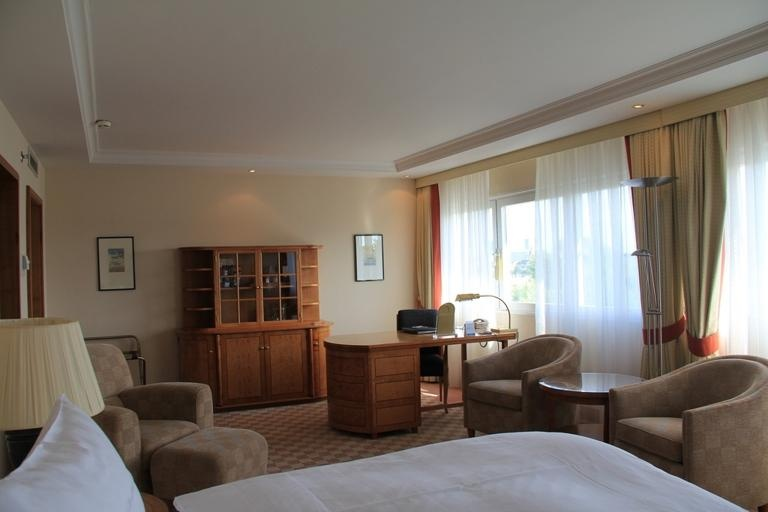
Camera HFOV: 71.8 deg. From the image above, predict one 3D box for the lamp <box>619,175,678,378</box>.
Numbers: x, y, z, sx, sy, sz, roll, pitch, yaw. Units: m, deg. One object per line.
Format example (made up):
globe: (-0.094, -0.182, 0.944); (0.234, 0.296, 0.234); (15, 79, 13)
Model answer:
lamp: (2.776, 0.221, 5.465); (0.289, 1.964, 0.499); (0, 6, 5)

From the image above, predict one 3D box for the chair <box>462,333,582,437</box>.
chair: (1.532, 1.254, 5.731); (1.229, 1.213, 1.092); (5, -5, -36)

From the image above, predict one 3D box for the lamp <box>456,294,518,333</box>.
lamp: (1.342, 0.690, 6.865); (0.590, 0.602, 1.336); (1, 6, 17)

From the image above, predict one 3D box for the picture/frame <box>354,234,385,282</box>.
picture/frame: (-0.232, 0.016, 8.245); (0.486, 0.737, 0.099); (-3, 7, -24)

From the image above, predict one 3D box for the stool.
stool: (-1.320, 1.607, 4.229); (0.633, 0.293, 0.486); (-5, -4, 27)
